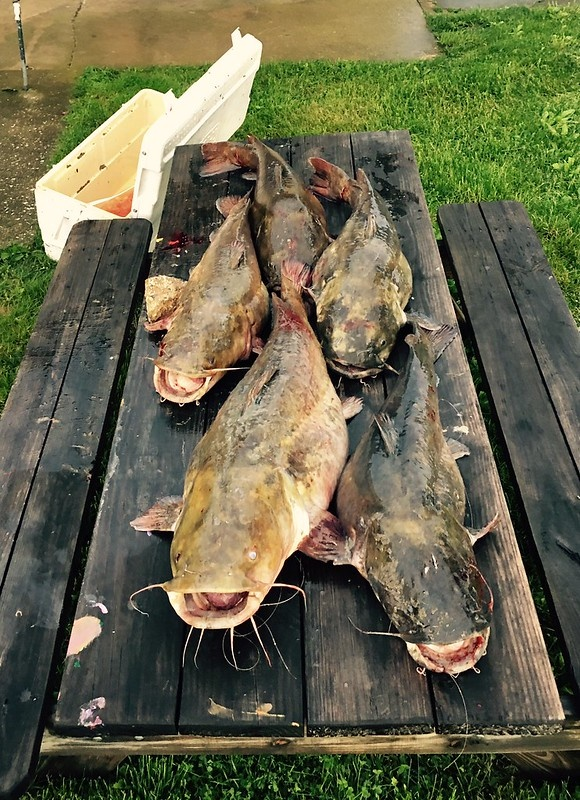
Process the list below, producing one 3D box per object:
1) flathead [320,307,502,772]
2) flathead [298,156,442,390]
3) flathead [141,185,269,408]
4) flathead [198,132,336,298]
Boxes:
[{"bbox_3d":[0.395,0.341,2.138,0.447,0.280,0.984,-8,52,3],"label":"flathead"},{"bbox_3d":[0.332,-0.646,2.986,0.603,0.466,1.359,6,53,-1],"label":"flathead"},{"bbox_3d":[-0.326,-0.457,2.867,0.377,0.355,0.983,10,56,1],"label":"flathead"},{"bbox_3d":[-0.116,-0.973,3.233,0.551,0.343,0.983,-16,60,-11],"label":"flathead"}]
